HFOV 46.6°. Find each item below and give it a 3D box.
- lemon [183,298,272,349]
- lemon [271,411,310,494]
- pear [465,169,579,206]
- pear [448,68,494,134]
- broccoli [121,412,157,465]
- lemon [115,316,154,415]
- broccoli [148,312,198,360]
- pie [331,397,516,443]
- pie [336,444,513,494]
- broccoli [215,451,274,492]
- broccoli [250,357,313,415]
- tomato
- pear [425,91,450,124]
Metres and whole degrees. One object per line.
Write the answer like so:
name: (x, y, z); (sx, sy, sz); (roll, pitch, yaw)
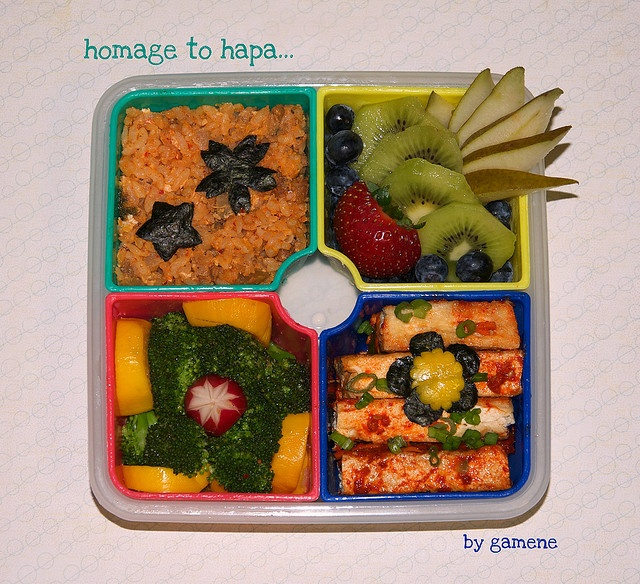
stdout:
lemon: (-0.352, 0.086, 2.864); (0.332, 0.191, 0.156); (14, 84, 3)
lemon: (-0.107, 0.598, 2.807); (0.095, 0.216, 0.256); (15, 57, 0)
pear: (0.730, -0.406, 2.764); (0.359, 0.228, 0.108); (0, 84, 1)
pear: (0.568, -0.740, 2.903); (0.159, 0.247, 0.128); (-22, 36, -29)
broccoli: (-0.693, 0.564, 2.851); (0.141, 0.086, 0.182); (1, 82, 2)
lemon: (-0.707, 0.281, 2.812); (0.140, 0.101, 0.360); (-1, 84, 1)
broccoli: (-0.561, 0.166, 2.781); (0.159, 0.054, 0.153); (0, 76, -8)
pie: (0.389, 0.472, 2.744); (0.658, 0.092, 0.167); (-2, 84, 1)
pie: (0.398, 0.653, 2.770); (0.559, 0.133, 0.176); (-2, 108, 0)
broccoli: (-0.290, 0.670, 2.779); (0.225, 0.049, 0.152); (3, 84, 1)
broccoli: (-0.130, 0.360, 2.849); (0.194, 0.079, 0.208); (5, 84, 2)
tomato: (-0.381, 0.425, 2.814); (0.218, 0.118, 0.210); (-35, 88, 11)
pear: (0.468, -0.709, 2.892); (0.110, 0.056, 0.102); (22, 85, 3)
